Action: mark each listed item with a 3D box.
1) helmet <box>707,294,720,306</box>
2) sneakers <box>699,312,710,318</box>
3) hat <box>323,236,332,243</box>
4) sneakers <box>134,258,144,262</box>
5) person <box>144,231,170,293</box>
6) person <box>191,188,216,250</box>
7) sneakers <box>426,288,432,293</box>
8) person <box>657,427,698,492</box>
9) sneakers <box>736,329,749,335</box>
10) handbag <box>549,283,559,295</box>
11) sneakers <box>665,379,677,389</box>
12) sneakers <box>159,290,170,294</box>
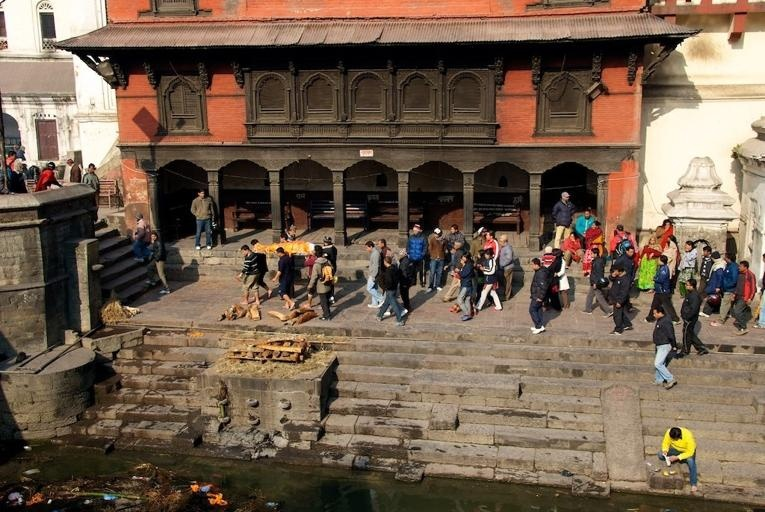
[{"bbox_3d":[10.643,1.397,24.827,0.299,0.299,0.117,-31,18,48],"label":"helmet"},{"bbox_3d":[10.538,1.931,25.362,0.312,0.129,0.113,18,23,30],"label":"sneakers"},{"bbox_3d":[-1.911,-0.539,26.816,0.367,0.148,0.389,7,5,-10],"label":"hat"},{"bbox_3d":[-9.197,0.152,28.995,0.352,0.141,0.125,9,3,13],"label":"sneakers"},{"bbox_3d":[-8.128,0.230,27.968,0.711,2.230,1.285,0,6,-16],"label":"person"},{"bbox_3d":[-7.141,-1.391,30.091,0.977,2.286,1.342,-2,7,-36],"label":"person"},{"bbox_3d":[1.625,1.234,27.504,0.176,0.170,0.462,0,0,13],"label":"sneakers"},{"bbox_3d":[7.719,5.217,20.153,0.986,1.631,0.618,4,6,19],"label":"person"},{"bbox_3d":[11.179,2.370,23.909,0.413,0.181,0.136,-5,39,31],"label":"sneakers"},{"bbox_3d":[5.625,1.065,25.586,0.457,0.403,0.252,-2,11,-6],"label":"handbag"},{"bbox_3d":[8.209,3.604,21.997,0.411,0.182,0.172,-25,0,-19],"label":"sneakers"},{"bbox_3d":[-7.937,1.287,27.928,0.390,0.154,0.131,2,3,16],"label":"sneakers"}]
